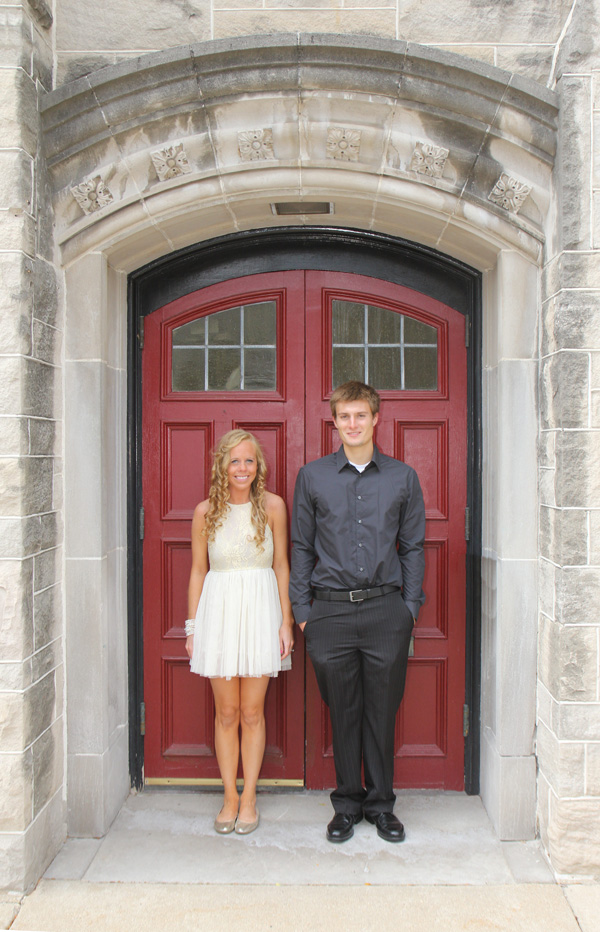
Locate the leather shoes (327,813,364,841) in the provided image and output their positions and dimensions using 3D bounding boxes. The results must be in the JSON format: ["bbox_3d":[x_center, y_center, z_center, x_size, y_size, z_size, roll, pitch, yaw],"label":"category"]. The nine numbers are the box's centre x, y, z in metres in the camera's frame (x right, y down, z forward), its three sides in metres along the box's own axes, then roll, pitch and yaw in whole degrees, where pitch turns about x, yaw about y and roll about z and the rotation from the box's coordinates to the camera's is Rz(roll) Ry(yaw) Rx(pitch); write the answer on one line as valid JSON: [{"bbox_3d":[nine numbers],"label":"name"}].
[{"bbox_3d":[0.144,1.218,3.091,0.070,0.077,0.139,4,9,27],"label":"leather shoes"}]

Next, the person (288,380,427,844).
[{"bbox_3d":[0.193,0.485,3.113,0.458,1.525,0.352,0,7,2],"label":"person"}]

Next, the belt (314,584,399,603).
[{"bbox_3d":[0.192,0.432,3.079,0.270,0.053,0.067,0,8,-1],"label":"belt"}]

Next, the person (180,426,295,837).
[{"bbox_3d":[-0.214,0.564,3.204,0.370,1.363,0.380,-1,7,-2],"label":"person"}]

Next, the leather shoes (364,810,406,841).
[{"bbox_3d":[0.293,1.212,3.070,0.054,0.062,0.140,1,-6,-18],"label":"leather shoes"}]
